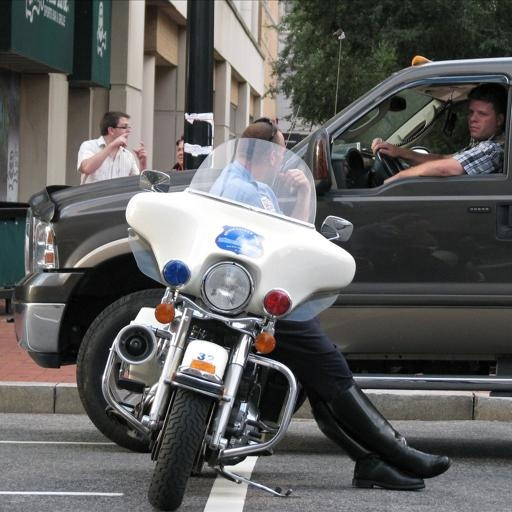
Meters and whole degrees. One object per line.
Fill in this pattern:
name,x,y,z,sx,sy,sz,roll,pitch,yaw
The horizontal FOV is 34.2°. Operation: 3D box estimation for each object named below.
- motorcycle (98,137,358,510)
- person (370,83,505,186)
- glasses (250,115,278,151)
motorcycle,-0.135,0.284,3.704,1.040,1.656,0.593,2,-2,-7
person,1.131,-0.740,5.180,0.878,0.466,0.555,-5,2,2
glasses,0.047,-0.581,3.942,0.110,0.130,0.073,-4,-12,9
